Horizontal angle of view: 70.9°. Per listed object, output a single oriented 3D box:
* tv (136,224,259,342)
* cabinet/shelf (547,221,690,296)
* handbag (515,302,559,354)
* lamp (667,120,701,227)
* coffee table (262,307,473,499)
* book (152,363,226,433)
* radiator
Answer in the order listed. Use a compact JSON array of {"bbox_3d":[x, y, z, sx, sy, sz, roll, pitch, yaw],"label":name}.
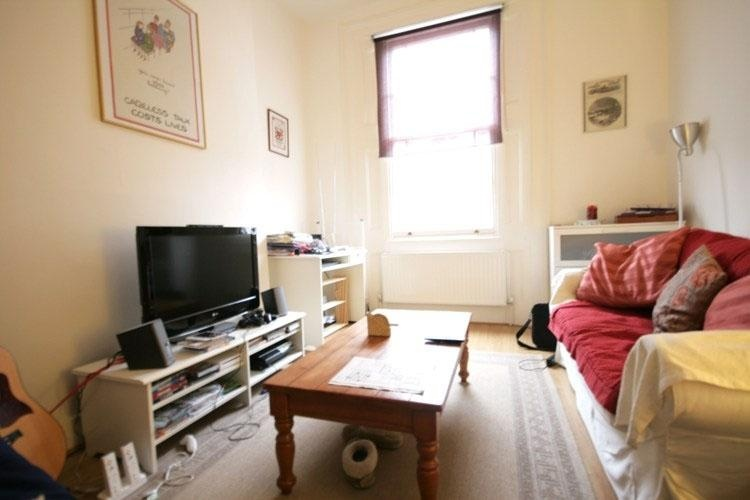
[{"bbox_3d":[-1.352,0.252,3.874,0.093,0.686,0.887,0,4,30],"label":"tv"},{"bbox_3d":[1.988,0.058,4.244,0.687,0.626,0.238,-3,-2,21],"label":"cabinet/shelf"},{"bbox_3d":[1.497,0.700,4.813,0.390,0.370,0.370,1,5,24],"label":"handbag"},{"bbox_3d":[2.701,-0.669,4.662,0.223,0.889,0.384,-3,9,9],"label":"lamp"},{"bbox_3d":[-0.045,0.601,3.374,1.000,0.612,1.650,0,7,17],"label":"coffee table"},{"bbox_3d":[-1.309,1.013,3.605,0.440,0.107,0.475,-10,5,28],"label":"book"},{"bbox_3d":[0.721,0.324,5.572,1.302,0.584,0.196,0,-16,6],"label":"radiator"}]
